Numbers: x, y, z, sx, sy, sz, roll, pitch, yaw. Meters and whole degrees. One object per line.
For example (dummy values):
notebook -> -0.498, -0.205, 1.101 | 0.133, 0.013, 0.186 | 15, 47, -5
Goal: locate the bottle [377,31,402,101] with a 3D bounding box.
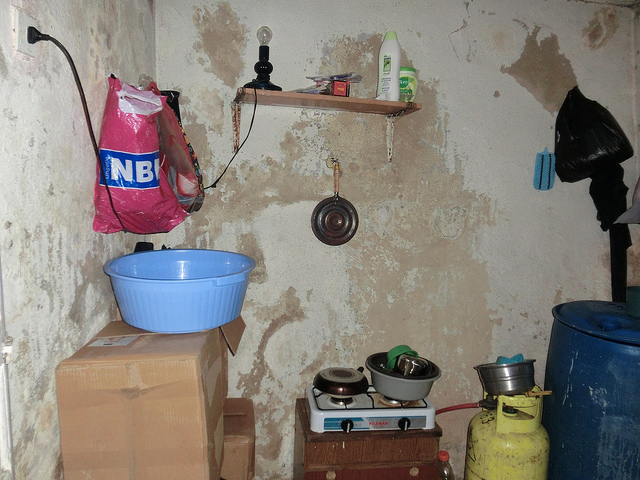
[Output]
bottle -> 0.296, -0.740, 2.910 | 0.096, 0.304, 0.069 | 1, 2, 6

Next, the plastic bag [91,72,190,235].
plastic bag -> -0.667, -0.307, 2.549 | 0.354, 0.598, 0.244 | -4, 18, -24

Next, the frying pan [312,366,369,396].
frying pan -> 0.080, 0.586, 2.919 | 0.184, 0.110, 0.196 | 0, 7, -38

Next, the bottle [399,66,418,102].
bottle -> 0.380, -0.663, 2.932 | 0.112, 0.158, 0.048 | 0, 3, -39

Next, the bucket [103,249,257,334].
bucket -> -0.586, 0.183, 2.568 | 0.428, 0.194, 0.436 | 0, 16, 0

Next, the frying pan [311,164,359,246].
frying pan -> 0.065, -0.151, 3.044 | 0.211, 0.362, 0.060 | 1, 2, -2
